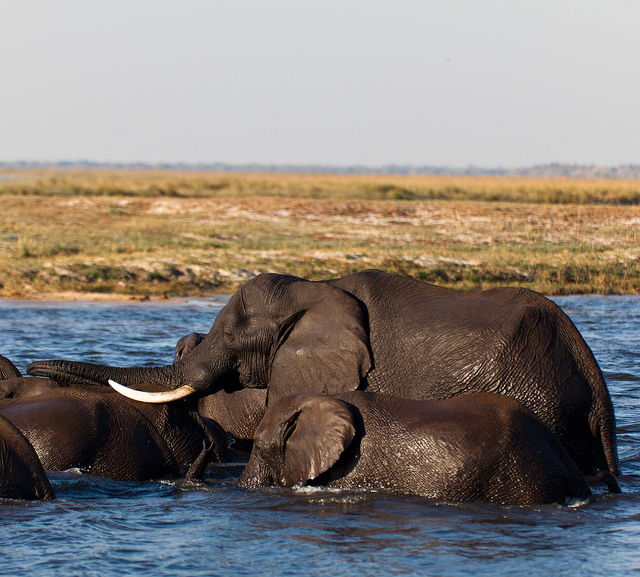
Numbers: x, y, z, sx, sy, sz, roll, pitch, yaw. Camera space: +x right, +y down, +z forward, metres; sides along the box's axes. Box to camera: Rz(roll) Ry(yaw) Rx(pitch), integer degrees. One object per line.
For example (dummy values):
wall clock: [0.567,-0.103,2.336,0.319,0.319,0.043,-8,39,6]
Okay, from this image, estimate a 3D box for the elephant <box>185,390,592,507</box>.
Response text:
elephant: [0.505,1.209,13.114,3.136,1.279,1.038,1,-9,4]

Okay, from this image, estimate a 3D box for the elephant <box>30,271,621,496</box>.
elephant: [0.707,0.663,13.940,5.436,1.911,1.621,3,-17,10]
